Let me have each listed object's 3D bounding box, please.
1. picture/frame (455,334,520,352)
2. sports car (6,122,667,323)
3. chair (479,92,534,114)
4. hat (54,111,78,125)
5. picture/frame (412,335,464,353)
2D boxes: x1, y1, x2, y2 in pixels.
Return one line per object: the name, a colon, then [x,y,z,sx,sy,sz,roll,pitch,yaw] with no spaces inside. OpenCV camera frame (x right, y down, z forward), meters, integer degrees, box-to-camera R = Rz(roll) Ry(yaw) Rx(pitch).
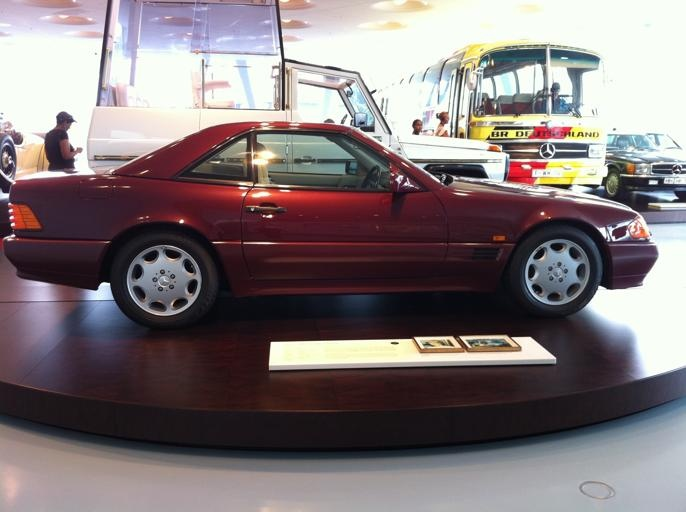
picture/frame: [1.001,0.595,3.325,0.380,0.053,0.268,0,7,-5]
sports car: [-0.005,-0.279,4.200,4.914,0.982,1.800,-1,6,-3]
chair: [3.368,-3.104,10.007,0.853,0.630,0.549,2,16,3]
hat: [-4.210,-2.120,7.370,0.205,0.123,0.309,17,23,40]
picture/frame: [0.653,0.595,3.315,0.317,0.050,0.305,0,7,-3]
